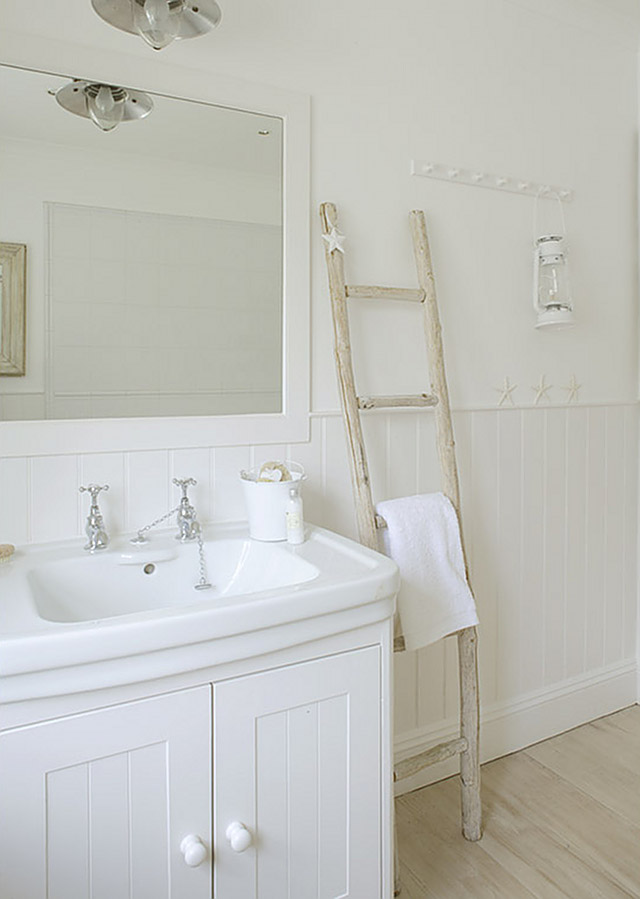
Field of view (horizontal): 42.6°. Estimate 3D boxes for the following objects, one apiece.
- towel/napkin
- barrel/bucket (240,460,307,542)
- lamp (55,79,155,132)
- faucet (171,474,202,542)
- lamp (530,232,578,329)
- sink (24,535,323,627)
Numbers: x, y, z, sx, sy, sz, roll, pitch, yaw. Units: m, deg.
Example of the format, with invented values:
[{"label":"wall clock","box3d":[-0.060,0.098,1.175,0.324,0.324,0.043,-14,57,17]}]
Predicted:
[{"label":"towel/napkin","box3d":[0.223,0.300,1.947,0.270,0.346,0.111,-5,-9,-28]},{"label":"barrel/bucket","box3d":[-0.082,0.104,1.710,0.137,0.153,0.154,0,-4,-1]},{"label":"lamp","box3d":[-0.445,-0.671,1.628,0.113,0.058,0.106,-7,-15,32]},{"label":"faucet","box3d":[-0.276,0.120,1.700,0.051,0.116,0.150,-3,8,-9]},{"label":"lamp","box3d":[0.648,-0.467,2.278,0.106,0.250,0.093,0,8,14]},{"label":"sink","box3d":[-0.271,0.247,1.543,0.504,0.108,0.241,-3,8,-6]}]
